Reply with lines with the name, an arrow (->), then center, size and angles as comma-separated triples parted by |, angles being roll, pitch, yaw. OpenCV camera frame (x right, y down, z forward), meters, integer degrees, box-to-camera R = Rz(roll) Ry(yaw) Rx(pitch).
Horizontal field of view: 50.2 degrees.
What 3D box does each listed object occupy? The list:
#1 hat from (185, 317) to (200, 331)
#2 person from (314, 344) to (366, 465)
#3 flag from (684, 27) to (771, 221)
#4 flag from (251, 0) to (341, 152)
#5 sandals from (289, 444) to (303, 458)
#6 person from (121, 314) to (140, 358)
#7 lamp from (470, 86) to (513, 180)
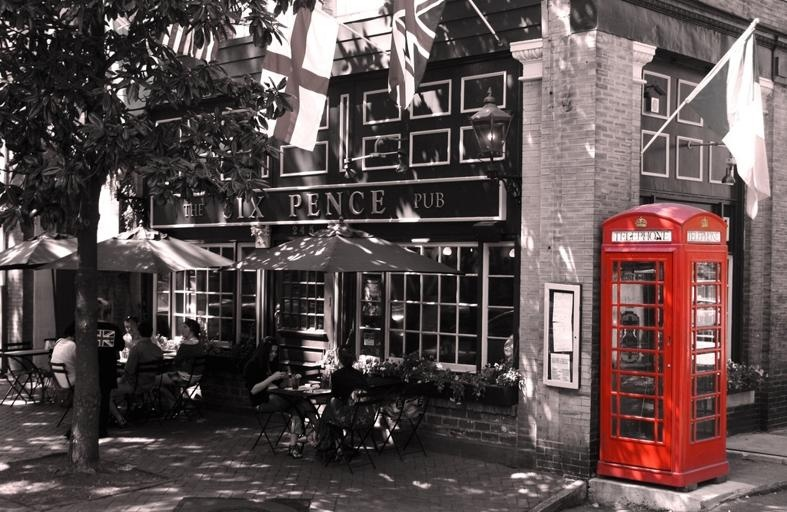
hat -> -3.868, 1.334, 16.201 | 0.235, 0.283, 0.289 | 5, -31, -9
person -> -0.822, 2.399, 13.356 | 0.787, 1.787, 0.386 | 4, 8, 28
flag -> 5.466, -2.091, 13.438 | 1.491, 2.988, 0.580 | -4, 8, -33
flag -> -1.553, -3.058, 14.447 | 1.173, 2.407, 0.794 | 0, 7, -6
sandals -> -1.568, 3.168, 13.717 | 0.237, 0.205, 0.292 | -1, 7, -15
person -> -5.547, 1.736, 17.900 | 0.353, 0.996, 0.328 | -17, 25, -41
lamp -> 1.590, -1.930, 13.546 | 0.624, 1.354, 0.813 | 1, 7, 7
